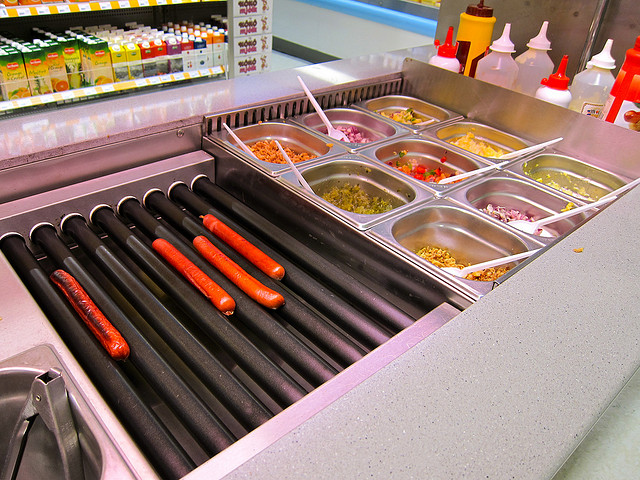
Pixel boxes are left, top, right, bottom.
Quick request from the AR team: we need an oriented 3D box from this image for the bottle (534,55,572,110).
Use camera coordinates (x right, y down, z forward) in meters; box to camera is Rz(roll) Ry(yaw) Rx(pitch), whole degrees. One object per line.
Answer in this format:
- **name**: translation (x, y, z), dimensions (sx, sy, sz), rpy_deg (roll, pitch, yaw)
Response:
- **bottle**: translation (0.987, -0.648, 1.788), dimensions (0.140, 0.204, 0.128), rpy_deg (3, 36, -2)

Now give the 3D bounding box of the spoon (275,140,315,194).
- **spoon**: translation (-0.124, -0.275, 1.565), dimensions (0.032, 0.050, 0.383), rpy_deg (-32, 50, -3)

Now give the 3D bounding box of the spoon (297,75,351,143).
- **spoon**: translation (0.014, -0.581, 1.955), dimensions (0.081, 0.066, 0.392), rpy_deg (-28, 85, -18)

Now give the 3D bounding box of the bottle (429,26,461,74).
- **bottle**: translation (0.613, -0.911, 2.076), dimensions (0.154, 0.188, 0.181), rpy_deg (14, 37, 13)

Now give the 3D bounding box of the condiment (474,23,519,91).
- **condiment**: translation (0.803, -0.802, 1.917), dimensions (0.185, 0.256, 0.173), rpy_deg (16, 38, 14)

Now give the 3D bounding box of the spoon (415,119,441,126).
- **spoon**: translation (0.517, -0.560, 2.066), dimensions (0.031, 0.035, 0.208), rpy_deg (42, 33, 20)

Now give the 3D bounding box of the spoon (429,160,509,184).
- **spoon**: translation (0.599, -0.265, 1.709), dimensions (0.314, 0.043, 0.026), rpy_deg (-21, 75, -34)

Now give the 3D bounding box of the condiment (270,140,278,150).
- **condiment**: translation (-0.190, -0.394, 1.800), dimensions (0.038, 0.018, 0.040), rpy_deg (14, 14, -23)
